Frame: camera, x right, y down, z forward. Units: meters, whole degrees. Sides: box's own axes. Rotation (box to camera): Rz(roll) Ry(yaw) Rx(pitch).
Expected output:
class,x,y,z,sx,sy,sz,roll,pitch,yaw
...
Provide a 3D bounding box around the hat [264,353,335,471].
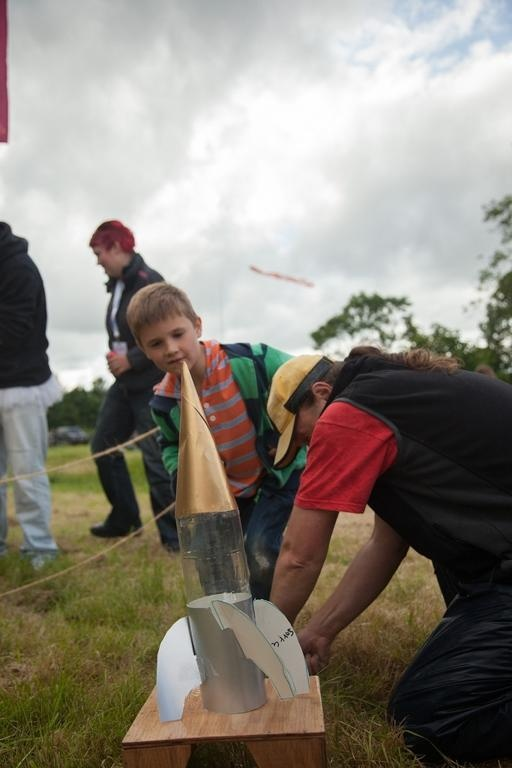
class,x,y,z,sx,sy,sz,roll,pitch,yaw
hat,0.100,0.065,1.891,0.152,0.279,0.183,33,13,-3
